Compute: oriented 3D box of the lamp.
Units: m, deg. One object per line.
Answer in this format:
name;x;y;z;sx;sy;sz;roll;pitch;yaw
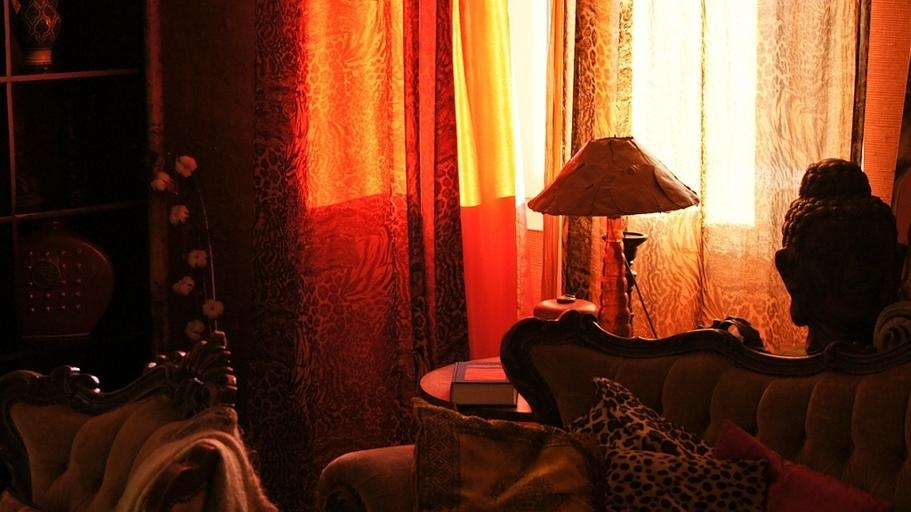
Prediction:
lamp;0.615;-0.073;2.988;0.609;0.789;0.273;-1;3;-14
